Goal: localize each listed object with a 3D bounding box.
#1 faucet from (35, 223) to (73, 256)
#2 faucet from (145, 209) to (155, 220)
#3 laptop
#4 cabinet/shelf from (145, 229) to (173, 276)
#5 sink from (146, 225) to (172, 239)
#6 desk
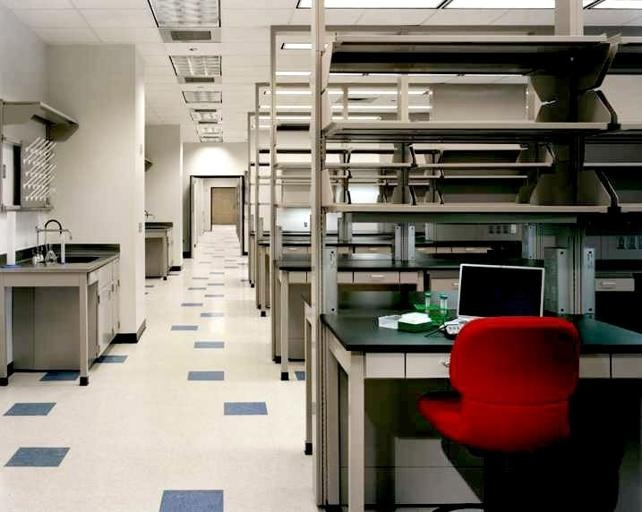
[{"bbox_3d":[-2.612,-0.152,5.826,0.262,0.390,0.312,-3,12,-11],"label":"faucet"},{"bbox_3d":[-3.389,-0.840,11.869,0.170,0.256,0.253,-1,9,-3],"label":"faucet"},{"bbox_3d":[0.974,0.194,3.175,0.481,0.366,0.352,0,0,14],"label":"laptop"},{"bbox_3d":[-3.080,-0.082,11.155,0.670,0.916,1.204,-1,4,-6],"label":"cabinet/shelf"},{"bbox_3d":[-3.031,-0.431,11.032,0.435,0.255,0.948,-2,7,-17],"label":"sink"},{"bbox_3d":[0.790,0.647,3.315,1.471,1.183,1.519,1,2,-7],"label":"desk"}]
